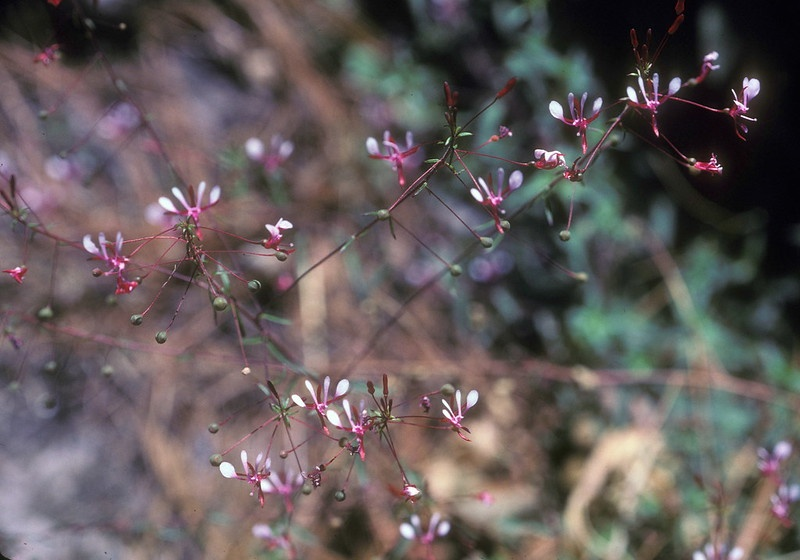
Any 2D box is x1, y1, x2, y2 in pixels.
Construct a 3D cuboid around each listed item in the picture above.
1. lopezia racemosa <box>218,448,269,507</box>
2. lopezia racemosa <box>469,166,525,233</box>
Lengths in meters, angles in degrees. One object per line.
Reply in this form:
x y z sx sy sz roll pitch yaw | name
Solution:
-0.454 0.613 2.570 0.111 0.122 0.086 -33 119 -46 | lopezia racemosa
0.319 -0.262 2.744 0.195 0.247 0.112 -15 48 -20 | lopezia racemosa
